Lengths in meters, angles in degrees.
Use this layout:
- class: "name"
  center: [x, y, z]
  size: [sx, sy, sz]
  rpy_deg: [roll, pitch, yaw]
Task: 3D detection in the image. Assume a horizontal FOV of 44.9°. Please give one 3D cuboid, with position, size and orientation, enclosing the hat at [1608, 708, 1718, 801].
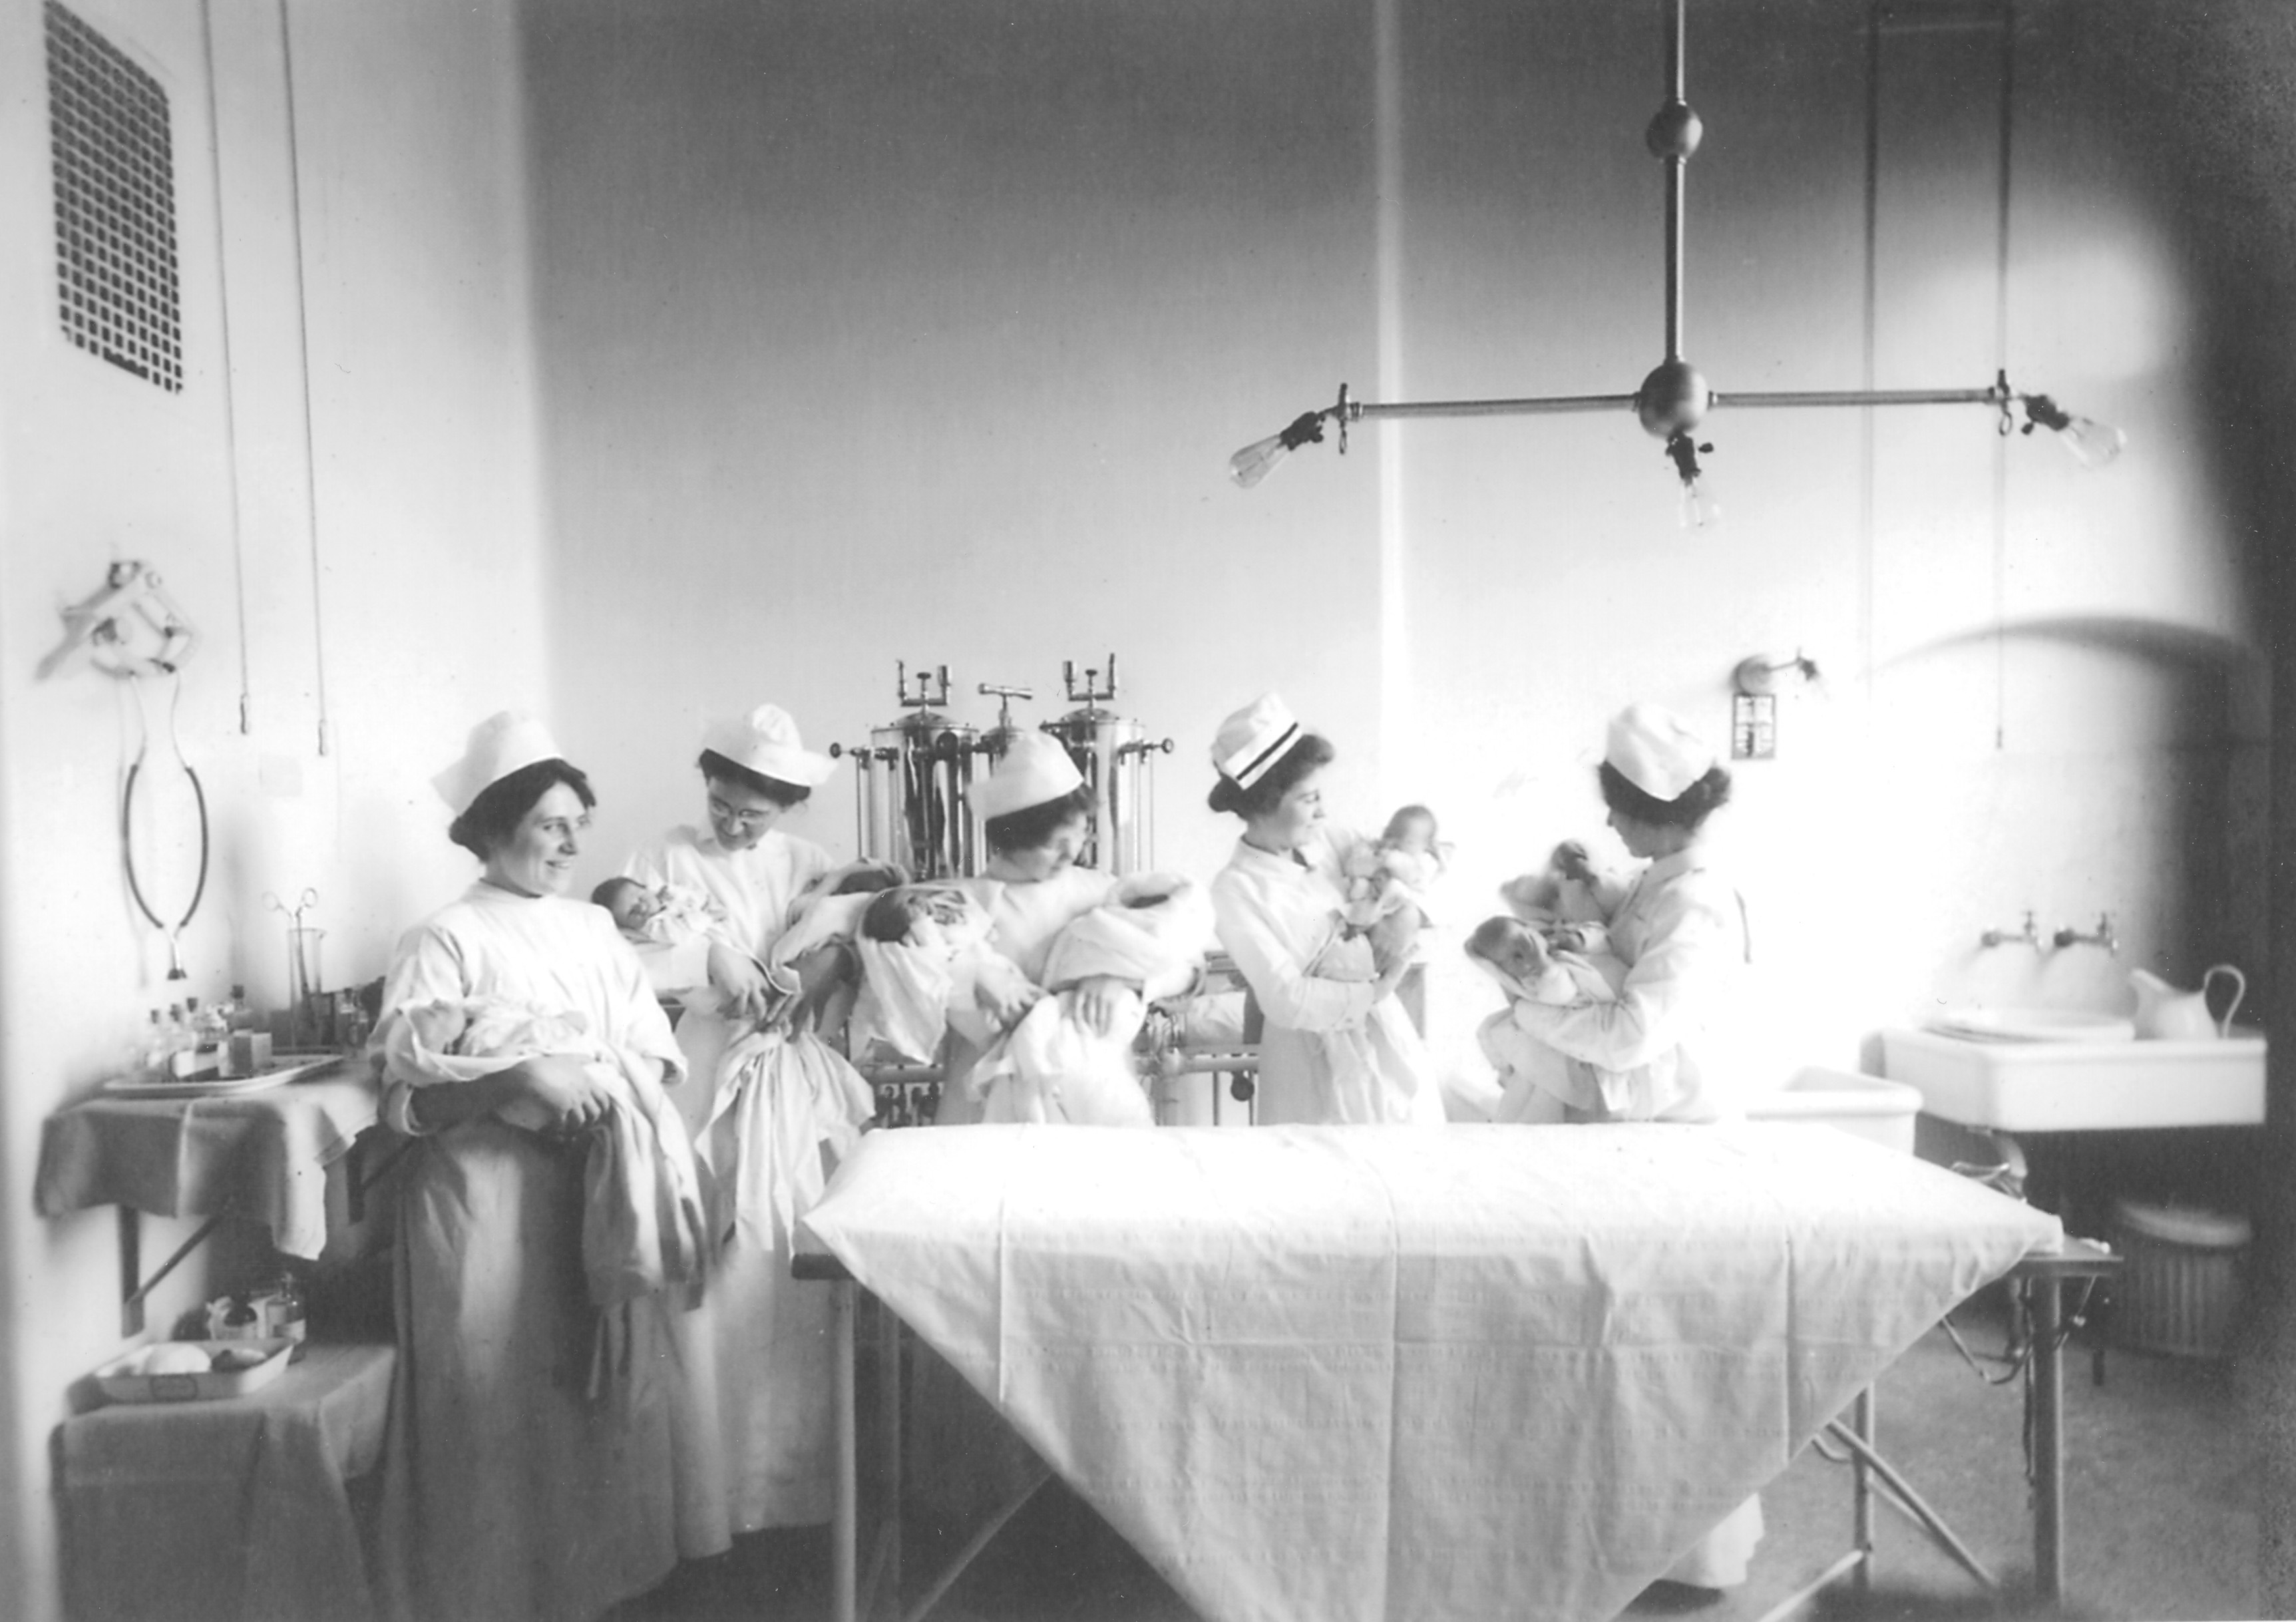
- class: "hat"
  center: [1.309, -0.151, 7.134]
  size: [0.268, 0.241, 0.174]
  rpy_deg: [-1, 3, -17]

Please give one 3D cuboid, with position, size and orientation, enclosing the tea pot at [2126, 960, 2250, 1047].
- class: "tea pot"
  center: [3.151, 0.584, 8.439]
  size: [0.294, 0.338, 0.211]
  rpy_deg: [0, 0, 0]

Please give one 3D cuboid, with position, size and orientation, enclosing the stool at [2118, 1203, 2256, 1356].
- class: "stool"
  center: [3.012, 1.365, 8.033]
  size: [0.411, 0.450, 0.437]
  rpy_deg: [3, 6, 24]

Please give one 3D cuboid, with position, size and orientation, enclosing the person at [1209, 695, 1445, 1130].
- class: "person"
  center: [0.481, 0.260, 7.636]
  size: [0.609, 1.164, 0.927]
  rpy_deg: [0, 3, 4]

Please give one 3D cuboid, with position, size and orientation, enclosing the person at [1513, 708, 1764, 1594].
- class: "person"
  center: [1.177, 0.573, 7.136]
  size: [0.583, 1.564, 0.568]
  rpy_deg: [18, -20, -12]

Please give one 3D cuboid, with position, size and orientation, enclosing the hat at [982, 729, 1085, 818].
- class: "hat"
  center: [-0.331, -0.106, 7.258]
  size: [0.183, 0.140, 0.246]
  rpy_deg: [-7, -2, -23]

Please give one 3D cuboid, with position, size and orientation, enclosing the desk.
- class: "desk"
  center: [-2.306, 0.972, 7.331]
  size: [0.816, 0.662, 1.102]
  rpy_deg: [-4, 4, 1]

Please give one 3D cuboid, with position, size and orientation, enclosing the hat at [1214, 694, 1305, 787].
- class: "hat"
  center: [0.258, -0.170, 7.620]
  size: [0.203, 0.165, 0.263]
  rpy_deg: [-44, 2, -43]

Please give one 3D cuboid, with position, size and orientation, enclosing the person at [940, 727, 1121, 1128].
- class: "person"
  center: [-0.242, 0.266, 7.404]
  size: [0.305, 0.217, 0.758]
  rpy_deg: [-17, -41, -3]

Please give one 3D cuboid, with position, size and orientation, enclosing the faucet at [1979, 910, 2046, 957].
- class: "faucet"
  center: [2.733, 0.385, 8.781]
  size: [0.174, 0.125, 0.104]
  rpy_deg: [-1, 0, 1]

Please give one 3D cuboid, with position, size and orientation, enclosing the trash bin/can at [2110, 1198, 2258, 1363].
- class: "trash bin/can"
  center: [3.093, 1.334, 8.200]
  size: [0.426, 0.458, 0.430]
  rpy_deg: [-5, 2, -32]
